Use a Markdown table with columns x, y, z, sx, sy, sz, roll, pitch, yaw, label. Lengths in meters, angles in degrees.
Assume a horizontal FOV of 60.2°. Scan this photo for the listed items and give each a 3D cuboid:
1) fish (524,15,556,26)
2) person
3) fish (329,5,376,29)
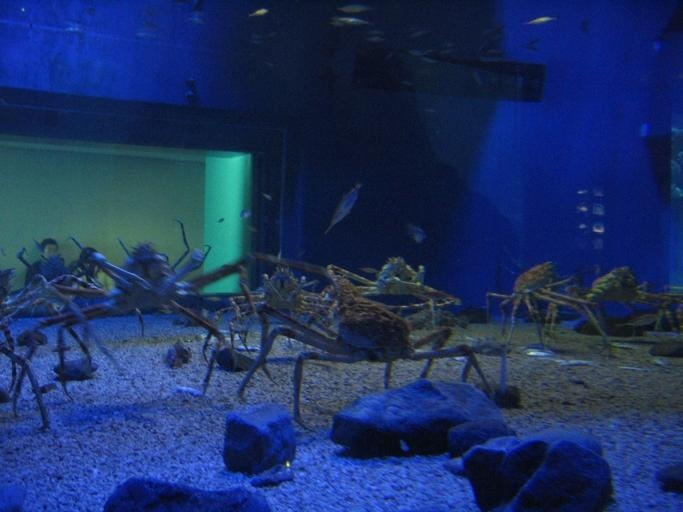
| x | y | z | sx | sy | sz | roll | pitch | yaw | label |
| --- | --- | --- | --- | --- | --- | --- | --- | --- | --- |
| 2.322 | -2.805 | 6.990 | 0.409 | 0.122 | 0.101 | 13 | -3 | 31 | fish |
| -4.446 | 0.116 | 9.223 | 1.491 | 0.621 | 1.860 | -2 | 7 | -39 | person |
| 0.138 | -3.230 | 7.976 | 0.377 | 0.313 | 0.043 | 4 | 1 | 5 | fish |
